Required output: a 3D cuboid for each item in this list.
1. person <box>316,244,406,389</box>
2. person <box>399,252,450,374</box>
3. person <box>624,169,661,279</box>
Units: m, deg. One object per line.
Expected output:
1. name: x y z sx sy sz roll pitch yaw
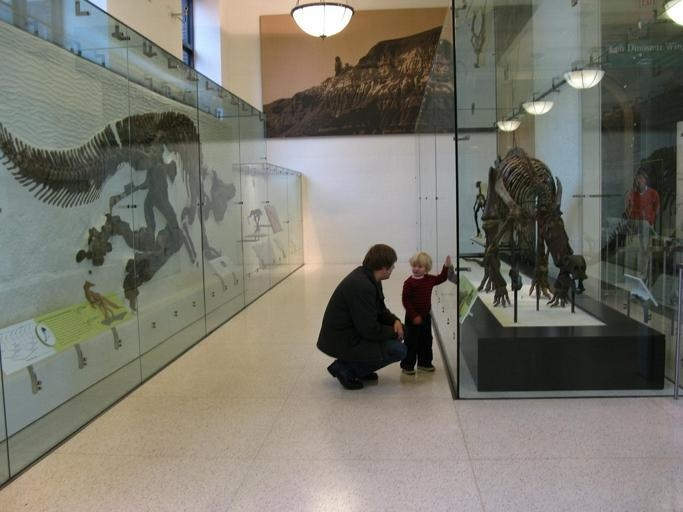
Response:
1. person: 0.072 0.417 5.401 0.970 1.879 1.027 0 11 -6
2. person: 0.781 0.536 4.990 0.424 1.133 0.329 0 8 7
3. person: 2.610 -0.259 4.558 0.268 0.949 0.086 -1 8 2
